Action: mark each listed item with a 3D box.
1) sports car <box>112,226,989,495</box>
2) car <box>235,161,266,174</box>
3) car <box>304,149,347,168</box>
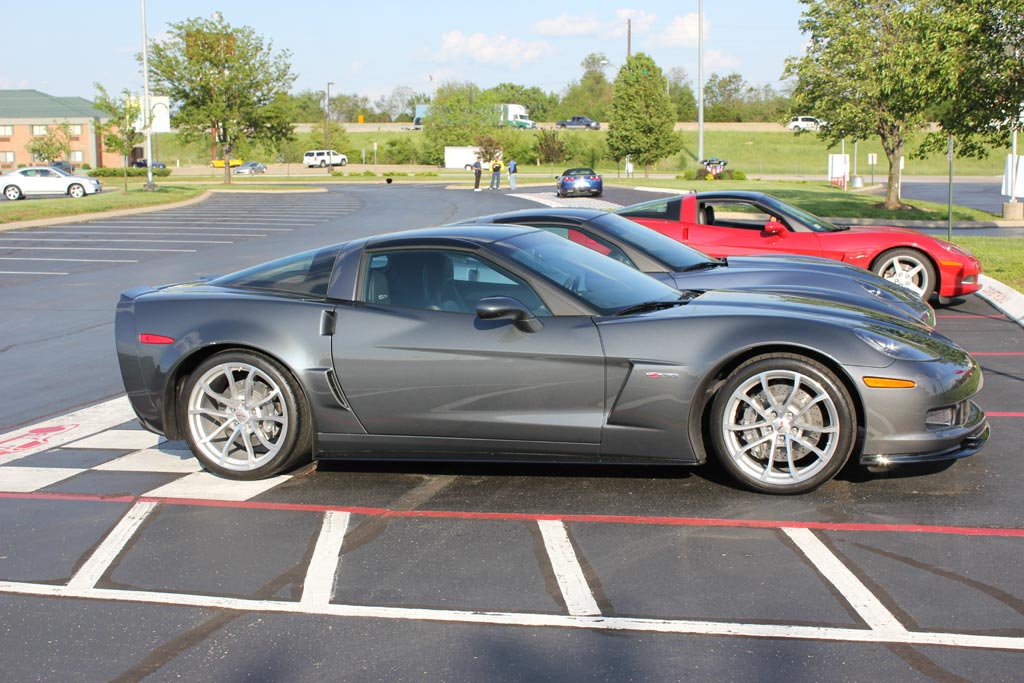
[{"bbox_3d":[0.133,0.220,6.270,6.109,1.259,2.497,-1,6,9],"label":"sports car"},{"bbox_3d":[-32.173,-21.354,93.785,2.498,0.825,3.480,-2,1,-8],"label":"car"},{"bbox_3d":[-23.760,-23.675,97.965,5.630,1.470,2.707,-6,12,-17],"label":"car"}]
